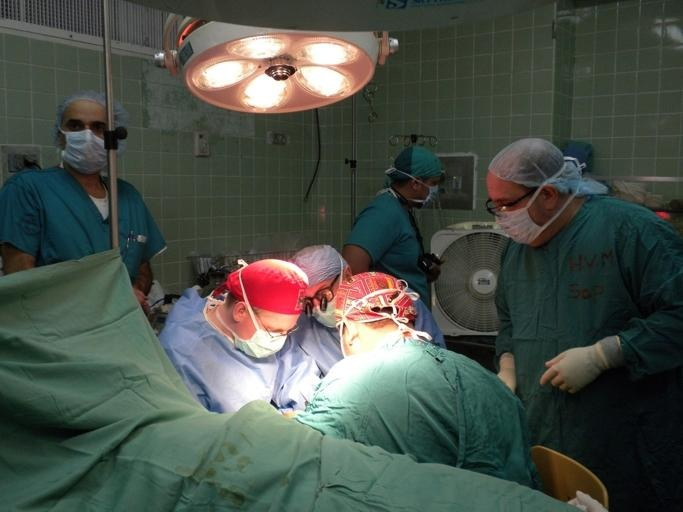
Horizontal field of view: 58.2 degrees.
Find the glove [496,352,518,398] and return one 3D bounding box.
[{"bbox_3d":[0.620,0.425,2.339,0.051,0.167,0.053,10,-20,-4],"label":"glove"}]

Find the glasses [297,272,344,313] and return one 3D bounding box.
[{"bbox_3d":[-0.085,0.146,2.318,0.120,0.075,0.131,-25,17,20],"label":"glasses"}]

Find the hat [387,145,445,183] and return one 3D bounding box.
[{"bbox_3d":[0.359,-0.451,3.067,0.314,0.205,0.250,3,4,11],"label":"hat"}]

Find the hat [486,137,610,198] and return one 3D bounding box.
[{"bbox_3d":[0.748,-0.349,2.265,0.427,0.154,0.329,1,13,-13],"label":"hat"}]

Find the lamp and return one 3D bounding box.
[{"bbox_3d":[-0.210,-0.556,1.748,0.642,0.238,0.483,-1,5,21],"label":"lamp"}]

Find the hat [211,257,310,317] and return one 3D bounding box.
[{"bbox_3d":[-0.283,0.094,2.195,0.329,0.187,0.263,11,0,25],"label":"hat"}]

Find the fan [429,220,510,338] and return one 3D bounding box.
[{"bbox_3d":[0.856,0.215,3.811,0.564,0.760,0.420,2,-17,9],"label":"fan"}]

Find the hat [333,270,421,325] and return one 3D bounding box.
[{"bbox_3d":[0.114,0.138,2.050,0.232,0.145,0.216,12,27,20],"label":"hat"}]

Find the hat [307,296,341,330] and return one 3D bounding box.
[{"bbox_3d":[-0.059,0.228,2.380,0.098,0.066,0.110,-26,35,13],"label":"hat"}]

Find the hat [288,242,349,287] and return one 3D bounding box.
[{"bbox_3d":[-0.094,0.029,2.304,0.142,0.103,0.174,-14,15,20],"label":"hat"}]

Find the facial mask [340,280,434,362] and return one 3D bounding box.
[{"bbox_3d":[0.122,0.205,2.088,0.340,0.308,0.274,-6,-10,42],"label":"facial mask"}]

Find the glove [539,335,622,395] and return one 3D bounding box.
[{"bbox_3d":[0.802,0.402,2.127,0.159,0.178,0.313,-7,-30,32],"label":"glove"}]

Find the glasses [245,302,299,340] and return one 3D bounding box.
[{"bbox_3d":[-0.237,0.225,2.097,0.125,0.054,0.121,35,8,31],"label":"glasses"}]

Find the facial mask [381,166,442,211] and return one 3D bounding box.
[{"bbox_3d":[0.349,-0.325,2.997,0.216,0.126,0.178,18,25,-7],"label":"facial mask"}]
